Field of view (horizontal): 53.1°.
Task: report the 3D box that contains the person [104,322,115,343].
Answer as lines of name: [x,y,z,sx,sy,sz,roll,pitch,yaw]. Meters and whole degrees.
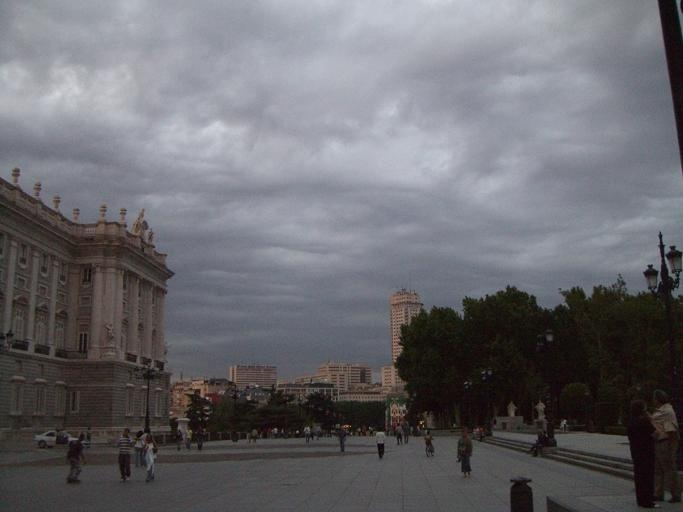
person: [-22.296,7.348,65.877,0.836,2.015,0.467,2,-15,-20]
